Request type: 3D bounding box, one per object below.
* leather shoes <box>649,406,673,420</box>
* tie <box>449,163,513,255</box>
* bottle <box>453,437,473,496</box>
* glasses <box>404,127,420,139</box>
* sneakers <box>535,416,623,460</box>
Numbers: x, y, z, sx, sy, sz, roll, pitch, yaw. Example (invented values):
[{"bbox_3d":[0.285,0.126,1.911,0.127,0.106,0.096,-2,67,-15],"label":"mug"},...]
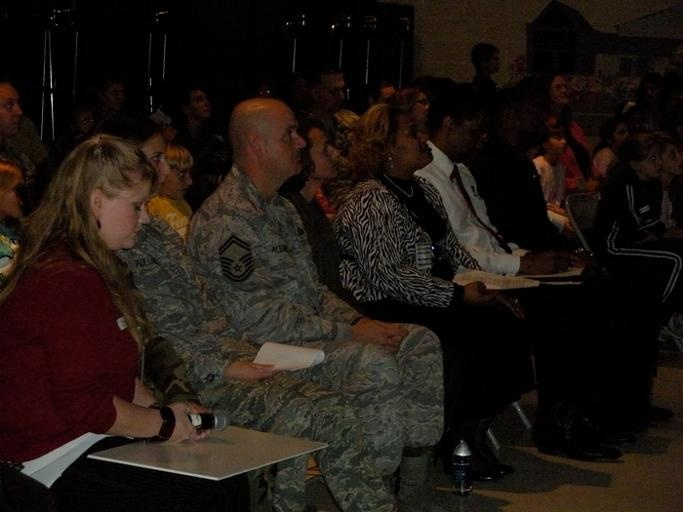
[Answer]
[{"bbox_3d":[2.445,1.212,4.526,0.235,0.048,0.153,-2,4,-17],"label":"leather shoes"},{"bbox_3d":[0.986,-0.347,4.248,0.109,0.127,0.871,-17,59,-37],"label":"tie"},{"bbox_3d":[0.669,1.150,3.263,0.117,0.274,0.205,4,5,12],"label":"bottle"},{"bbox_3d":[0.433,-0.727,3.518,0.099,0.062,0.035,23,-25,-20],"label":"glasses"},{"bbox_3d":[1.496,1.196,3.815,0.204,0.201,0.567,-20,7,-34],"label":"sneakers"}]
